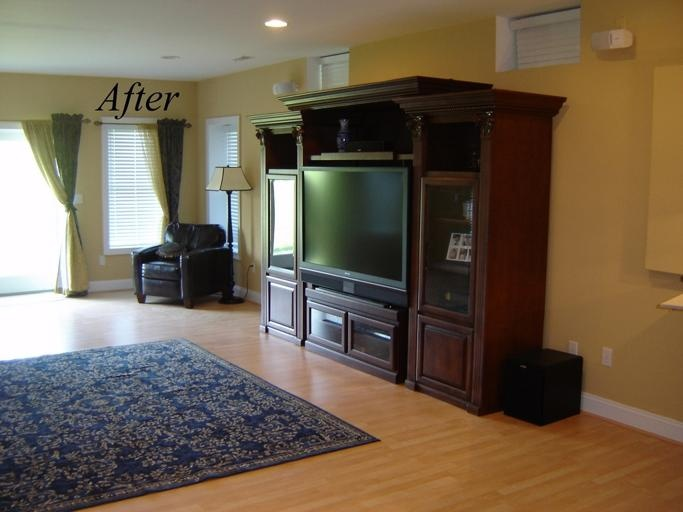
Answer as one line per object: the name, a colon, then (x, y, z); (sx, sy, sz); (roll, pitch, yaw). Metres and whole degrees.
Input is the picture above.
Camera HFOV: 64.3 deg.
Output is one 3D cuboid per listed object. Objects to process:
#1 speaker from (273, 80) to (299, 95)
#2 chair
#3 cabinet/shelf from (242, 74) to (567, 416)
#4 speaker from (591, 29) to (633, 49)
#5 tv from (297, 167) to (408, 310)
speaker: (-0.708, -2.035, 6.566); (0.410, 0.197, 0.097); (1, 14, 30)
chair: (-2.159, 0.069, 7.832); (1.469, 1.403, 1.142); (3, 4, 29)
cabinet/shelf: (0.615, -0.066, 4.771); (0.844, 2.550, 3.084); (-4, 7, -35)
speaker: (1.958, -1.575, 3.922); (0.244, 0.138, 0.178); (9, 13, 41)
tv: (0.140, -0.182, 5.175); (0.140, 1.191, 1.439); (-3, 6, -34)
